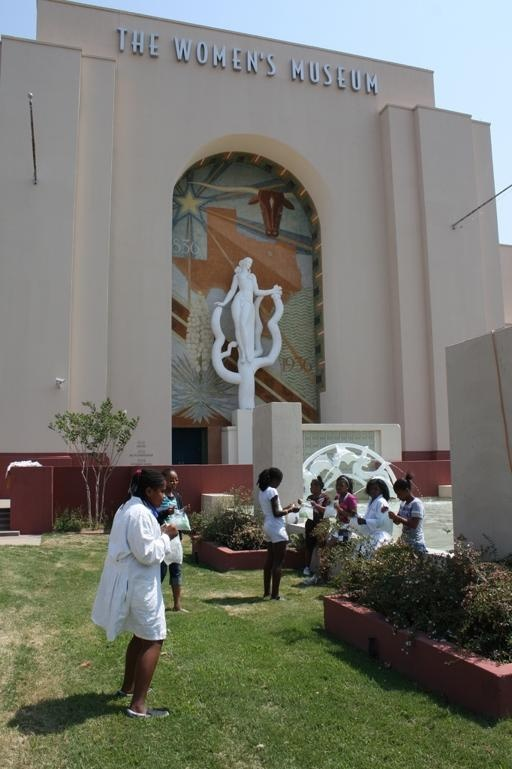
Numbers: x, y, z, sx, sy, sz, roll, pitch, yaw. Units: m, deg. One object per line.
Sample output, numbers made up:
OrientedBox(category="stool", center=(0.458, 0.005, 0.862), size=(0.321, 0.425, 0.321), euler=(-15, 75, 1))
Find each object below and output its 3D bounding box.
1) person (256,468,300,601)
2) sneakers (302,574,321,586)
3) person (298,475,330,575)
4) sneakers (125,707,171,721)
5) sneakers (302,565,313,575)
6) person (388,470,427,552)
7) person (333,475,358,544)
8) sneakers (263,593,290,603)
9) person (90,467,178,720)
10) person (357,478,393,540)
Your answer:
OrientedBox(category="person", center=(0.235, 1.676, 7.194), size=(0.407, 1.458, 0.673), euler=(-1, -3, -1))
OrientedBox(category="sneakers", center=(0.687, 2.443, 8.018), size=(0.155, 0.168, 0.099), euler=(-4, -5, 17))
OrientedBox(category="person", center=(0.795, 1.852, 8.431), size=(0.305, 1.225, 0.804), euler=(-1, -3, 5))
OrientedBox(category="sneakers", center=(-0.637, 1.974, 3.847), size=(0.179, 0.046, 0.103), euler=(1, -12, -3))
OrientedBox(category="sneakers", center=(0.676, 2.482, 8.557), size=(0.097, 0.184, 0.106), euler=(2, -3, -28))
OrientedBox(category="person", center=(1.530, 1.323, 6.532), size=(0.337, 0.685, 1.164), euler=(-1, -3, 13))
OrientedBox(category="person", center=(1.086, 1.506, 7.825), size=(0.265, 0.744, 0.763), euler=(-1, -3, 7))
OrientedBox(category="sneakers", center=(0.231, 2.378, 7.133), size=(0.301, 0.129, 0.096), euler=(-3, 1, 5))
OrientedBox(category="person", center=(-0.740, 1.357, 3.888), size=(0.428, 1.296, 0.447), euler=(-2, -3, 29))
OrientedBox(category="person", center=(1.242, 1.326, 6.739), size=(0.341, 0.668, 0.794), euler=(-1, -3, 9))
